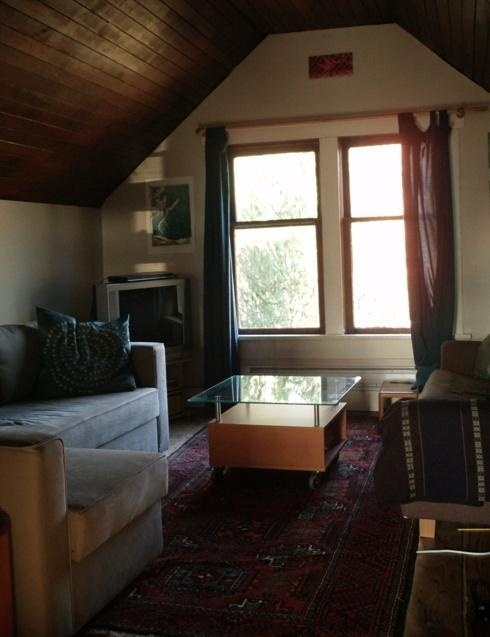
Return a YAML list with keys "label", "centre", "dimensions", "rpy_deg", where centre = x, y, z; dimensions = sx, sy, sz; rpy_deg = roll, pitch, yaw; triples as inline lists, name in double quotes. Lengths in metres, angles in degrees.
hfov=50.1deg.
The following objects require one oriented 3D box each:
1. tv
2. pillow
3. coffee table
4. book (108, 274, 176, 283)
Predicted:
- label: "tv"
  centre: [-0.771, 0.008, 3.805]
  dimensions: [0.295, 0.543, 0.563]
  rpy_deg: [9, 15, 35]
- label: "pillow"
  centre: [-0.971, 0.201, 3.046]
  dimensions: [0.451, 0.456, 0.172]
  rpy_deg: [4, -27, -38]
- label: "coffee table"
  centre: [0.139, 0.560, 2.865]
  dimensions: [0.681, 0.378, 0.629]
  rpy_deg: [0, 6, 19]
- label: "book"
  centre: [-0.787, -0.323, 4.185]
  dimensions: [0.176, 0.075, 0.703]
  rpy_deg: [-3, 0, 42]
